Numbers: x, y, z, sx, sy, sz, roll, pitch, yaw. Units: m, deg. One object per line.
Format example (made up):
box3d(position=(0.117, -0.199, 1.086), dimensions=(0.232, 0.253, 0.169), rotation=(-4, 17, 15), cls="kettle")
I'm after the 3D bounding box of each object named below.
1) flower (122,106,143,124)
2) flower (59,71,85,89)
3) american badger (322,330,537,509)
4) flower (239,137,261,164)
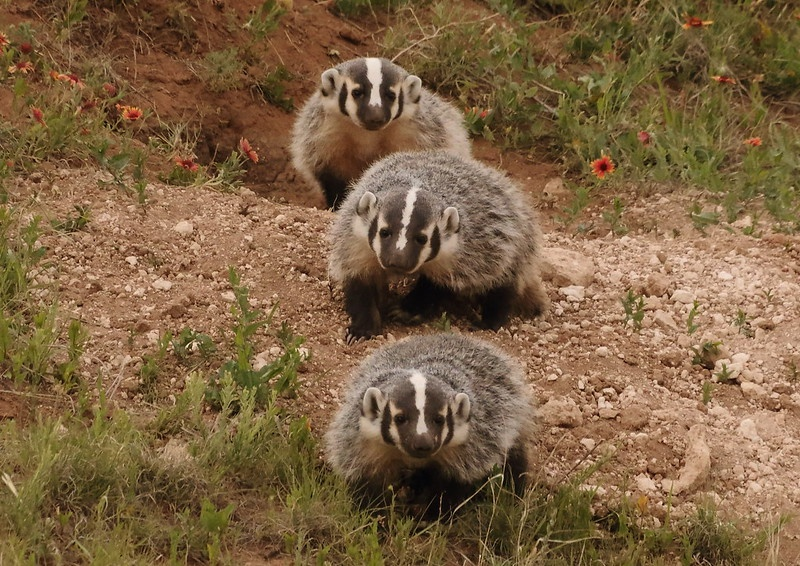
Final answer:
box3d(position=(-2.088, -1.305, 7.127), dimensions=(0.166, 0.173, 0.085), rotation=(-26, 98, 13), cls="flower")
box3d(position=(-2.453, -1.551, 6.844), dimensions=(0.144, 0.139, 0.047), rotation=(24, 99, 5), cls="flower")
box3d(position=(0.194, 0.792, 5.483), dimensions=(1.212, 1.034, 1.051), rotation=(8, 76, 4), cls="american badger")
box3d(position=(-1.308, -1.144, 7.910), dimensions=(0.127, 0.237, 0.240), rotation=(-30, 85, -18), cls="flower")
